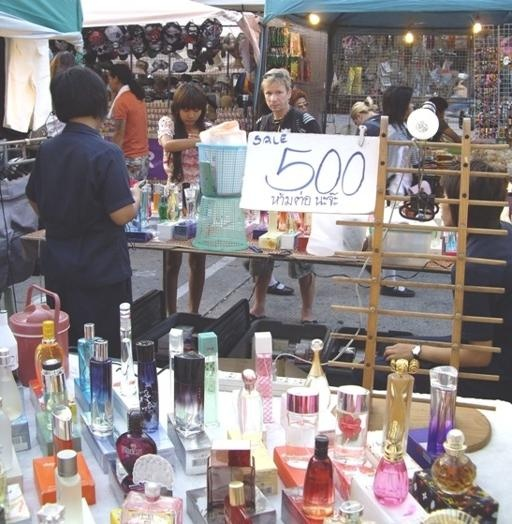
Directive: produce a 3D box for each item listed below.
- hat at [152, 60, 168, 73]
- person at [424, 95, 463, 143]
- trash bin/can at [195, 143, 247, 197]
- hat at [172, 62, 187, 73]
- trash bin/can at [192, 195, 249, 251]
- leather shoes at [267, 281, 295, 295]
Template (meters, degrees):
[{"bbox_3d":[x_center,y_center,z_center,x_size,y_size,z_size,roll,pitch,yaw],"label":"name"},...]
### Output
[{"bbox_3d":[-1.636,-3.309,8.642,0.154,0.148,0.199,0,20,2],"label":"hat"},{"bbox_3d":[2.223,-1.666,6.009,0.313,0.538,0.988,6,11,22],"label":"person"},{"bbox_3d":[-0.203,-0.563,3.102,0.286,0.347,0.324,5,20,4],"label":"trash bin/can"},{"bbox_3d":[-1.291,-3.272,8.594,0.265,0.180,0.263,1,11,-11],"label":"hat"},{"bbox_3d":[-0.259,-0.192,3.325,0.320,0.372,0.367,-7,-17,-6],"label":"trash bin/can"},{"bbox_3d":[0.282,0.287,5.926,0.325,0.164,0.135,2,5,12],"label":"leather shoes"}]
